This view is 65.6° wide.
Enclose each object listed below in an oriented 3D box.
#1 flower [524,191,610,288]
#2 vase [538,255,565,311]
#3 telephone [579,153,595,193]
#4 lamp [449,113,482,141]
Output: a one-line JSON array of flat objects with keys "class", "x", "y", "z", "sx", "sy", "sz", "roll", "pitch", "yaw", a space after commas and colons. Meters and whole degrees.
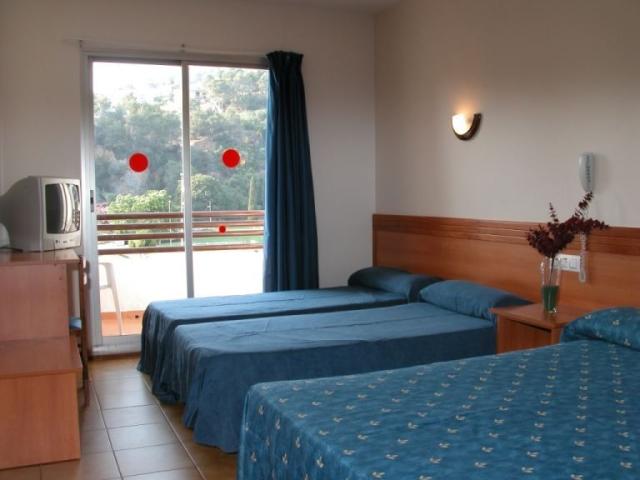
[{"class": "flower", "x": 1.656, "y": -0.012, "z": 3.517, "sx": 0.538, "sy": 0.648, "sz": 0.541, "roll": -4, "pitch": 4, "yaw": -33}, {"class": "vase", "x": 1.618, "y": 0.317, "z": 3.466, "sx": 0.128, "sy": 0.377, "sz": 0.137, "roll": -1, "pitch": 6, "yaw": 12}, {"class": "telephone", "x": 1.889, "y": -0.462, "z": 3.502, "sx": 0.098, "sy": 0.272, "sz": 0.037, "roll": 1, "pitch": 6, "yaw": 33}, {"class": "lamp", "x": 1.306, "y": -1.002, "z": 4.458, "sx": 0.084, "sy": 0.235, "sz": 0.332, "roll": -5, "pitch": 6, "yaw": -27}]
